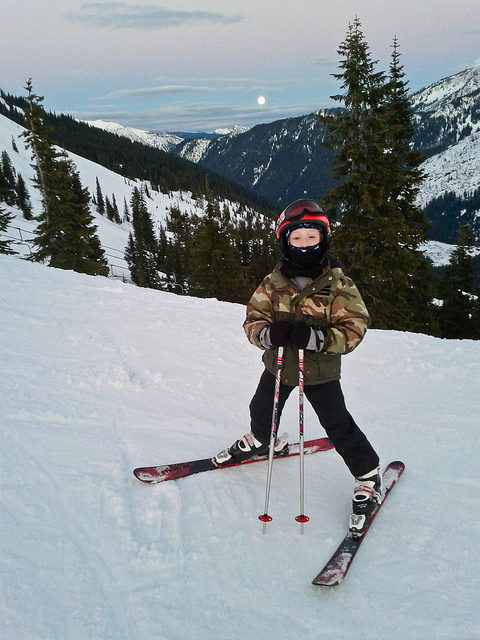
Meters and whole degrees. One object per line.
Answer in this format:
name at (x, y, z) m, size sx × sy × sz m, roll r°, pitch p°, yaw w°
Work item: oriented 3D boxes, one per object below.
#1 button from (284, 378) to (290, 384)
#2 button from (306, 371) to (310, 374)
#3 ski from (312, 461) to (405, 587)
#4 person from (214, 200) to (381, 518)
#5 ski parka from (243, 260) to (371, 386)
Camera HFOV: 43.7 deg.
button at (0.392, 0.522, 5.085) m, size 0.050 × 0.044 × 0.011 m, roll 1°, pitch 0°, yaw 6°
button at (0.553, 0.437, 4.930) m, size 0.032 × 0.028 × 0.007 m, roll 1°, pitch 2°, yaw 13°
ski at (0.879, 1.640, 4.773) m, size 0.136 × 0.065 × 1.351 m, roll -21°, pitch 18°, yaw 40°
person at (0.541, 0.305, 5.108) m, size 0.882 × 2.579 × 1.324 m, roll -9°, pitch 16°, yaw -26°
ski parka at (0.556, 0.013, 5.074) m, size 1.041 × 1.007 × 0.472 m, roll 5°, pitch 16°, yaw 28°
